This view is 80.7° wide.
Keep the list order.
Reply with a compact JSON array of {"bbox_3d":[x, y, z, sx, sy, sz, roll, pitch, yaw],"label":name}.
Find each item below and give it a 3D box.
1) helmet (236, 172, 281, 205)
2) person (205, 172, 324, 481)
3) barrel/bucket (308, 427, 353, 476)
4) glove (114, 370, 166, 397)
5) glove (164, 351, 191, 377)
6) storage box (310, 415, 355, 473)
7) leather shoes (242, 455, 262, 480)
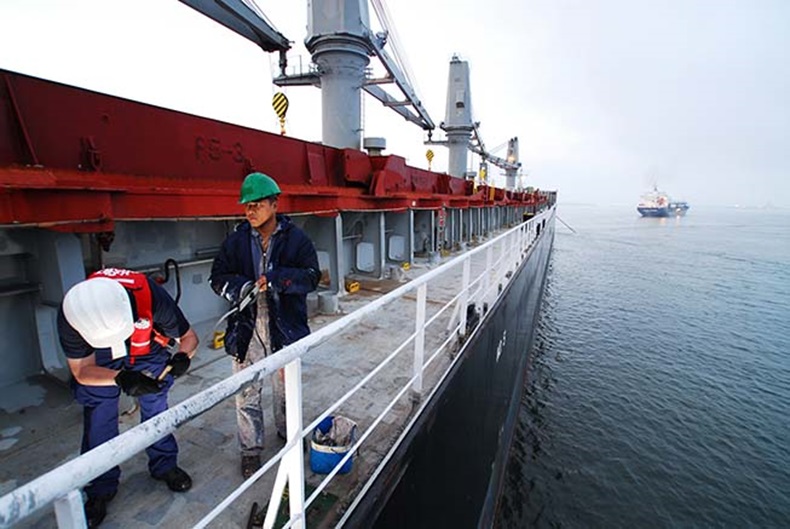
[{"bbox_3d":[-1.515,-0.851,5.191,0.413,0.259,0.335,-9,14,-39],"label":"helmet"},{"bbox_3d":[-1.507,0.638,5.304,1.185,3.272,0.862,4,11,12],"label":"person"},{"bbox_3d":[-0.749,2.060,5.158,0.560,0.464,0.274,5,12,15],"label":"barrel/bucket"},{"bbox_3d":[-2.386,1.111,4.325,0.334,0.133,0.252,8,39,-22],"label":"glove"},{"bbox_3d":[-2.229,1.052,4.946,0.214,0.288,0.286,0,-21,-1],"label":"glove"},{"bbox_3d":[-0.688,2.039,5.322,0.429,0.531,0.589,5,11,5],"label":"storage box"},{"bbox_3d":[-1.625,2.228,5.240,0.233,0.234,0.278,-1,11,-15],"label":"leather shoes"}]
